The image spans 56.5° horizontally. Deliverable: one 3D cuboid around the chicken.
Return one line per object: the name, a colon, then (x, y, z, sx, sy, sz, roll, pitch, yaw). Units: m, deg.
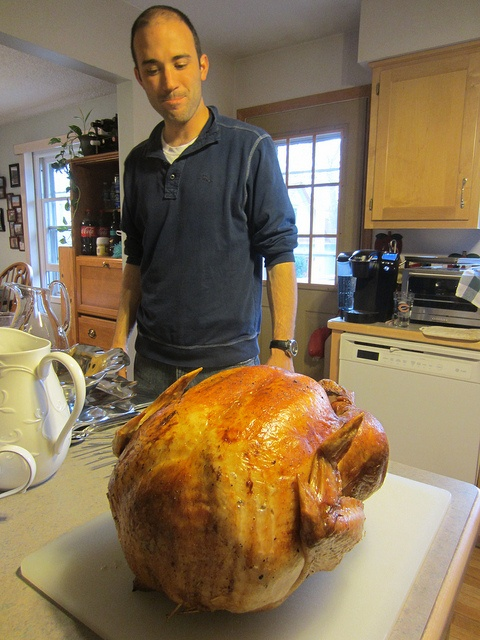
chicken: (0.025, 0.073, 0.409, 0.191, 0.130, 0.248, 11, 30, 29)

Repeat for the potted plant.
potted plant: (-1.415, -1.172, 3.764, 0.216, 0.956, 0.341, -4, 19, -22)

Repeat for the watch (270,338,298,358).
watch: (0.088, 0.057, 0.926, 0.054, 0.035, 0.067, 3, 10, 3)

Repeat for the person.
person: (-0.104, -0.261, 1.075, 0.589, 0.880, 0.284, 7, 11, 25)

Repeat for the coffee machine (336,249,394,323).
coffee machine: (0.614, -0.165, 2.197, 0.284, 0.347, 0.252, 5, 10, 13)
